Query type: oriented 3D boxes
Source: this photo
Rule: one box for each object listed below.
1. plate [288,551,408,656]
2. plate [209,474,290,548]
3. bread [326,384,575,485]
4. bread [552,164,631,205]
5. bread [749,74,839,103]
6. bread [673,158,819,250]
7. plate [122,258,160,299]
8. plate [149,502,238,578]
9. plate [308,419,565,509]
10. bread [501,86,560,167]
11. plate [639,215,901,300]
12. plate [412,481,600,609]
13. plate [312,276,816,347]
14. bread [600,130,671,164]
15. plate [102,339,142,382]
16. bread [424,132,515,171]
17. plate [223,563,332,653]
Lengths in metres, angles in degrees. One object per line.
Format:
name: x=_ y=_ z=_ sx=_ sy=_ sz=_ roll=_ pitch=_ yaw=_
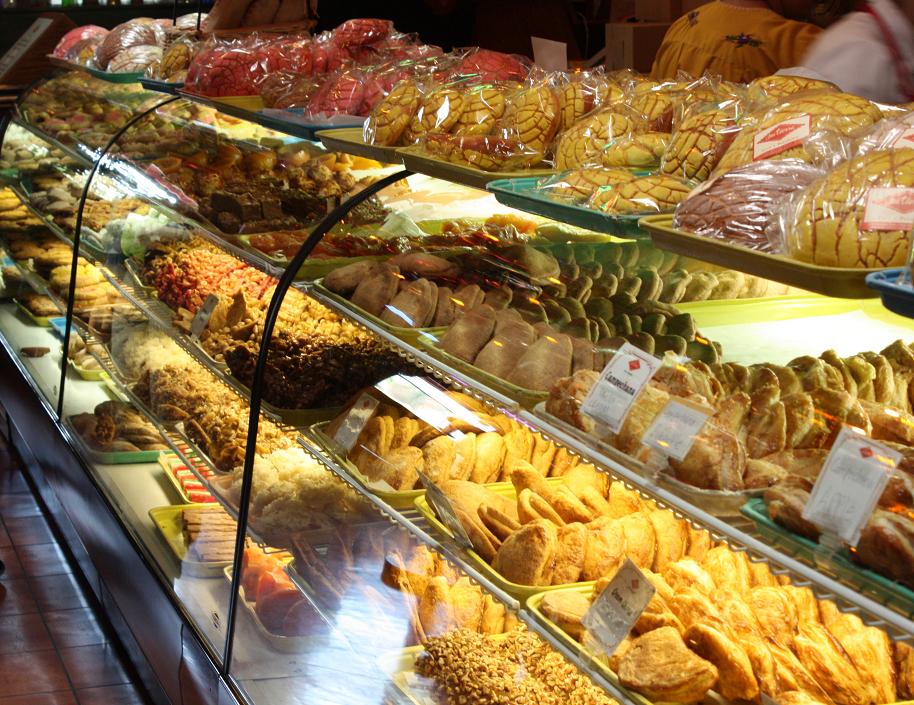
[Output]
plate: x=-0.280 y=0.620 z=1.681 sx=0.053 sy=0.149 sz=0.306 roll=4 pitch=17 yaw=-39
plate: x=-0.596 y=0.402 z=1.883 sx=0.262 sy=0.147 sz=0.050 roll=28 pitch=19 yaw=23
bread: x=-0.055 y=0.206 z=1.601 sx=0.428 sy=0.051 sz=0.275 roll=17 pitch=33 yaw=38
bread: x=0.235 y=-0.300 z=1.194 sx=0.102 sy=0.026 sz=0.103 roll=-30 pitch=31 yaw=-27
bread: x=0.611 y=-0.483 z=1.235 sx=0.146 sy=0.032 sz=0.137 roll=-1 pitch=17 yaw=4
bread: x=0.408 y=-0.195 z=0.969 sx=0.169 sy=0.048 sz=0.181 roll=-34 pitch=29 yaw=-26
plate: x=-1.204 y=-0.285 z=2.615 sx=0.049 sy=0.199 sz=0.118 roll=-15 pitch=-19 yaw=-34
plate: x=-0.822 y=0.555 z=2.110 sx=0.228 sy=0.055 sz=0.334 roll=-13 pitch=27 yaw=-18
plate: x=-0.068 y=0.237 z=1.593 sx=0.354 sy=0.042 sz=0.322 roll=-8 pitch=16 yaw=-29
bread: x=0.178 y=-0.501 z=1.531 sx=0.147 sy=0.184 sz=0.064 roll=-15 pitch=-32 yaw=35
plate: x=0.387 y=-0.143 z=0.882 sx=0.126 sy=0.019 sz=0.216 roll=-16 pitch=28 yaw=-42
plate: x=0.051 y=0.407 z=1.484 sx=0.200 sy=0.036 sz=0.300 roll=-17 pitch=34 yaw=-33
plate: x=0.237 y=-0.108 z=1.497 sx=0.617 sy=0.036 sz=0.227 roll=12 pitch=19 yaw=40
bread: x=0.340 y=-0.386 z=1.286 sx=0.076 sy=0.033 sz=0.106 roll=-33 pitch=25 yaw=-23
plate: x=-1.331 y=0.042 z=2.677 sx=0.144 sy=0.194 sz=0.075 roll=-26 pitch=-4 yaw=39
bread: x=0.022 y=-0.433 z=1.484 sx=0.165 sy=0.049 sz=0.092 roll=11 pitch=7 yaw=33
plate: x=-0.486 y=0.661 z=1.811 sx=0.294 sy=0.174 sz=0.051 roll=51 pitch=5 yaw=34
